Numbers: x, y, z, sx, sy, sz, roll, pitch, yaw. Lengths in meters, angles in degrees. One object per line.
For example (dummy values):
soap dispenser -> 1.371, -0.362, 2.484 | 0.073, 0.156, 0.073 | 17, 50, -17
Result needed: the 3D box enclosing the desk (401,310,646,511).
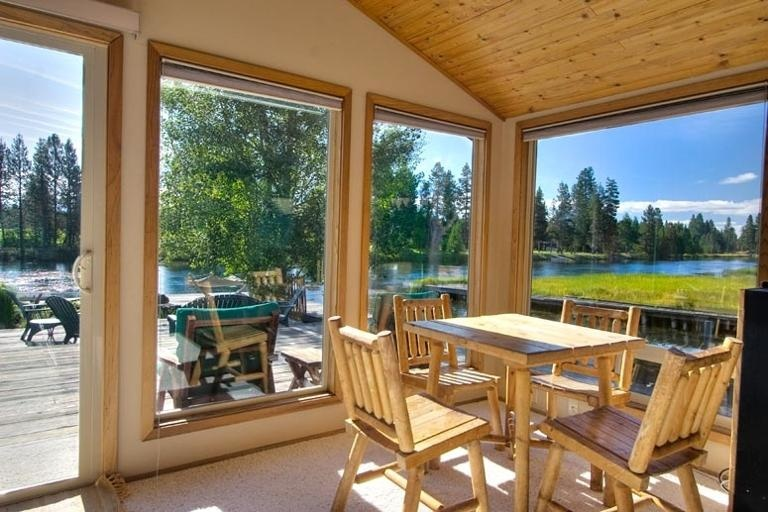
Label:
desk -> 0.917, 0.631, 3.578 | 1.244, 1.105, 1.485 | -1, 2, -28
